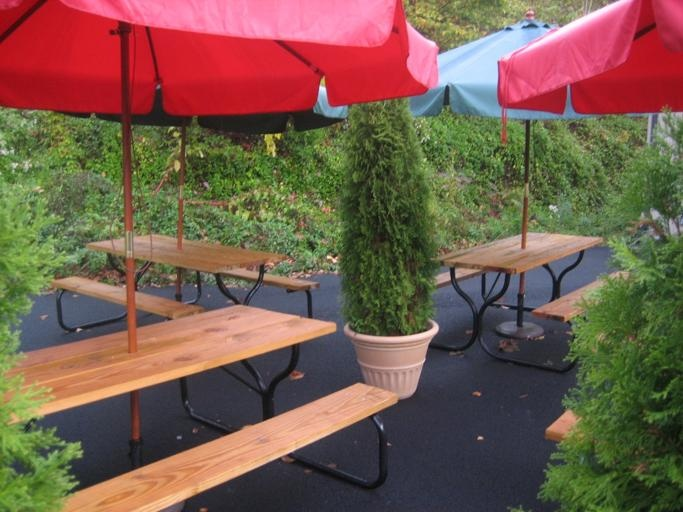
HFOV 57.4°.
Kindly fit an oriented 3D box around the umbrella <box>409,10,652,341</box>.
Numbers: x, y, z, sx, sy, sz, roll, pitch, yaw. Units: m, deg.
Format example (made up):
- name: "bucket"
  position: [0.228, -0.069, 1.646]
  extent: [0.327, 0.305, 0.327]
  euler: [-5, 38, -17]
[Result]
- name: "umbrella"
  position: [1.363, -1.006, 6.995]
  extent: [2.581, 3.861, 2.846]
  euler: [0, 3, -1]
